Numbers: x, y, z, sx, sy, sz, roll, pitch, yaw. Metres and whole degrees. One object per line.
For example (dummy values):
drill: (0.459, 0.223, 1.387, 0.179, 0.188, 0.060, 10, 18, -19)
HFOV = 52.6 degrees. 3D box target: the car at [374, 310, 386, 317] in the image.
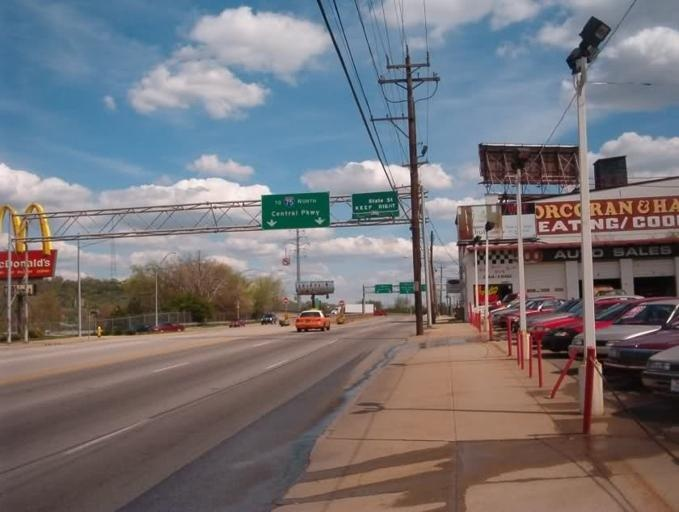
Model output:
car: (8.734, 12.395, 147.945, 1.055, 0.815, 1.819, -1, 1, 37)

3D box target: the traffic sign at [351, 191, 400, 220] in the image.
traffic sign: (1.979, -2.818, 37.817, 2.502, 1.555, 2.568, -2, 2, 2)

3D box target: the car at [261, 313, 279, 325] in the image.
car: (-8.560, 7.744, 83.777, 1.251, 1.063, 2.216, 1, 2, 6)

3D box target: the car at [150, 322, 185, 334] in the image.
car: (-16.094, 6.769, 64.580, 2.009, 0.678, 1.434, 0, -1, -39)

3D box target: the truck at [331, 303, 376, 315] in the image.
truck: (3.849, 10.172, 132.876, 5.172, 2.174, 9.596, -2, 2, -3)
